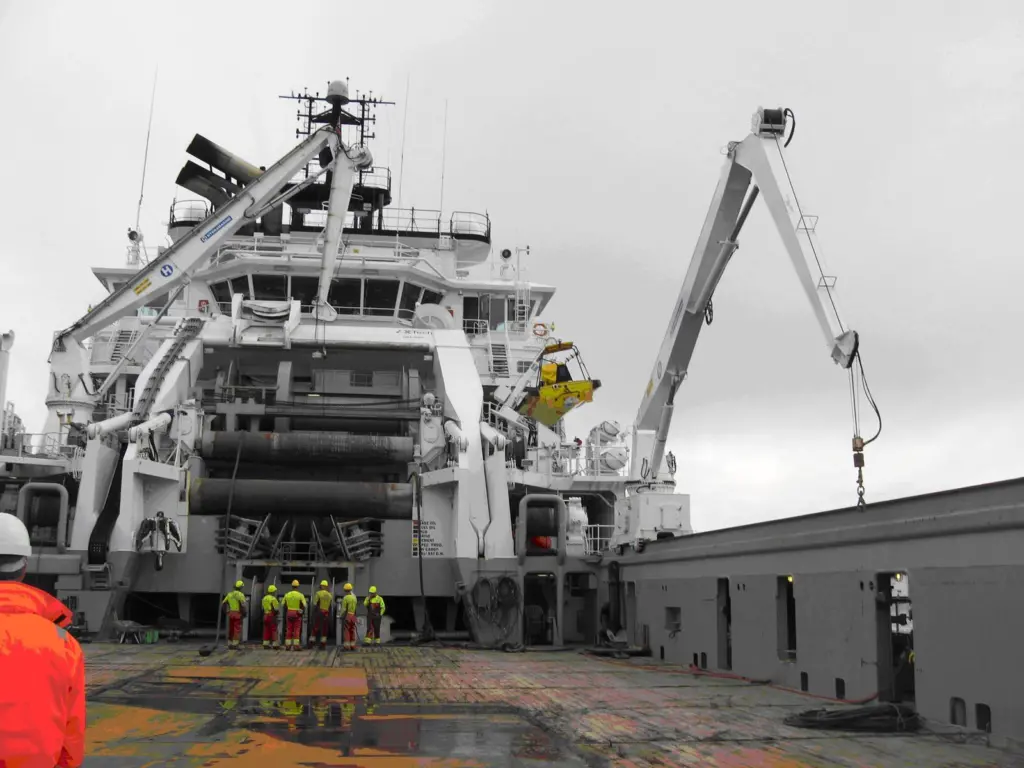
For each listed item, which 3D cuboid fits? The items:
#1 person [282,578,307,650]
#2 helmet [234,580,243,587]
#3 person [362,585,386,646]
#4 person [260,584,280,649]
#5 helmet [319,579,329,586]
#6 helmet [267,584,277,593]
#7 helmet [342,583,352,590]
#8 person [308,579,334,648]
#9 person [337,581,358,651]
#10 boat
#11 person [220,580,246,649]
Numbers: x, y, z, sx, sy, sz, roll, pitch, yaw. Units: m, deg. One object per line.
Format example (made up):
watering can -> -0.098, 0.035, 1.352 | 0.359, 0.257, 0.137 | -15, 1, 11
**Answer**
person -> -4.120, 4.324, 18.677 | 0.434, 1.209, 1.047 | 2, -7, -12
helmet -> -5.335, 3.878, 19.266 | 0.101, 0.086, 0.156 | 5, 0, 16
person -> -2.737, 4.540, 19.555 | 0.337, 1.114, 0.817 | 1, -7, -9
person -> -4.508, 4.341, 18.505 | 0.288, 1.127, 0.905 | 2, -7, -13
helmet -> -3.611, 3.818, 19.021 | 0.175, 0.101, 0.278 | 2, -5, -2
helmet -> -4.542, 3.863, 18.693 | 0.143, 0.088, 0.223 | 3, -8, -4
helmet -> -3.134, 3.868, 18.906 | 0.148, 0.094, 0.112 | 0, -1, -18
person -> -3.672, 4.413, 19.235 | 0.430, 1.259, 0.959 | 1, -7, -10
person -> -3.111, 4.370, 18.775 | 0.337, 1.172, 0.840 | 1, -7, -10
boat -> 0.988, -0.061, 25.606 | 3.028, 1.761, 0.975 | -5, -9, 44
person -> -5.257, 4.339, 18.792 | 0.376, 1.148, 1.258 | 2, -7, -15
